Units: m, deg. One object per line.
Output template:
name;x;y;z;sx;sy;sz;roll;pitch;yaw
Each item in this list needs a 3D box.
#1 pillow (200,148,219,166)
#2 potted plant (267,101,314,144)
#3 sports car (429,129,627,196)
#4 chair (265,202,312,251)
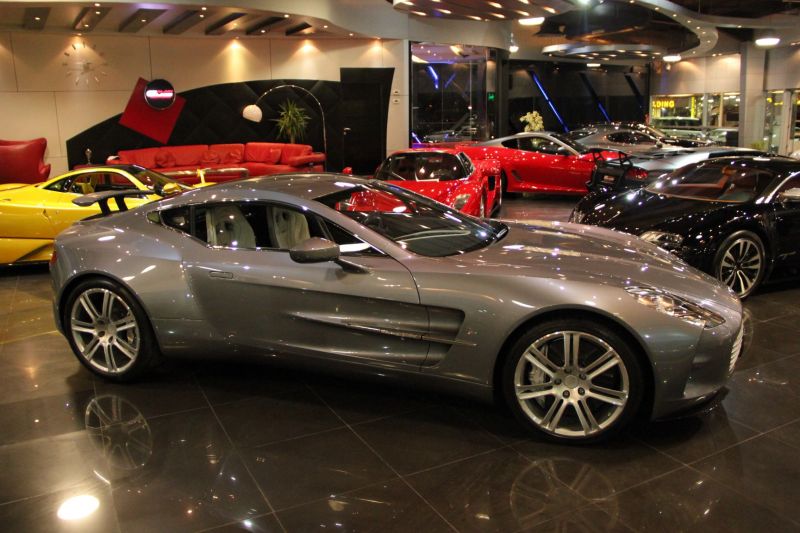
pillow;-5.295;-3.085;14.110;0.462;0.508;0.205;2;9;-15
potted plant;-3.102;-4.220;14.961;1.429;1.382;1.248;-2;31;2
sports car;3.013;-2.308;11.346;3.161;0.712;1.517;1;20;10
chair;-0.801;-0.264;3.877;0.530;0.277;0.377;2;1;-3
